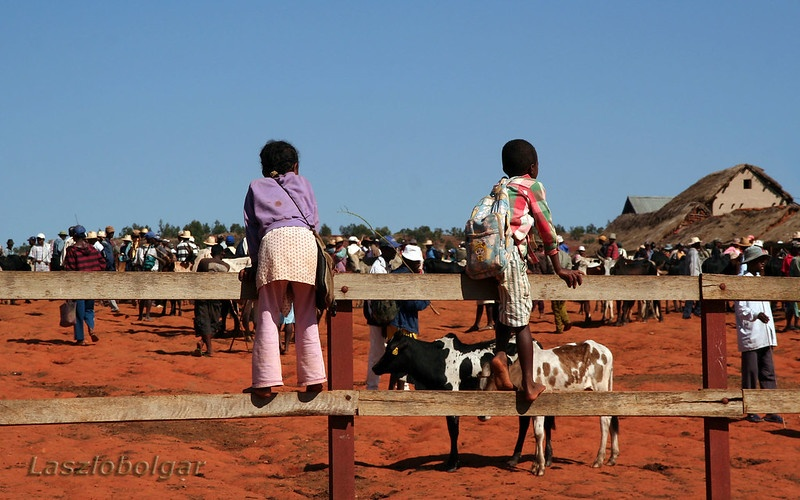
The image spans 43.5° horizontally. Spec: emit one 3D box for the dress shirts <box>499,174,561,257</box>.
[{"bbox_3d":[1.920,-0.485,15.585,0.736,1.363,1.128,-2,0,-27],"label":"dress shirts"}]

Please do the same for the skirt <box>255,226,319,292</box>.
[{"bbox_3d":[-1.693,0.125,15.182,0.914,0.954,0.873,3,2,-9],"label":"skirt"}]

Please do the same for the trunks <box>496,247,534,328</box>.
[{"bbox_3d":[1.709,0.566,15.090,0.723,1.433,1.143,1,-4,-4],"label":"trunks"}]

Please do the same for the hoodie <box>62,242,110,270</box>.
[{"bbox_3d":[-7.756,0.192,24.706,1.167,0.992,0.655,-3,2,-35],"label":"hoodie"}]

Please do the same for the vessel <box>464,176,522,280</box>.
[{"bbox_3d":[1.428,-0.359,15.388,0.831,1.453,0.886,-7,-3,28],"label":"vessel"}]
